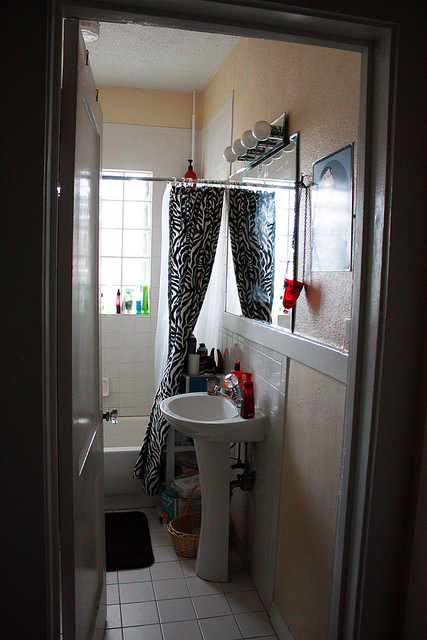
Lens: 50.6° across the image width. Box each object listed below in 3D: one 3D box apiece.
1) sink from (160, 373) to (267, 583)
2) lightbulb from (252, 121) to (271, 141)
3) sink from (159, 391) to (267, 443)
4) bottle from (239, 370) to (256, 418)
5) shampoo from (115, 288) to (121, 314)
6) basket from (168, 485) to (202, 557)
[{"bbox_3d":[-0.021,0.708,2.037,0.447,0.926,0.444,1,2,-11],"label":"sink"},{"bbox_3d":[0.188,-0.731,1.776,0.068,0.060,0.169,2,2,4],"label":"lightbulb"},{"bbox_3d":[-0.022,0.445,1.985,0.401,0.157,0.509,0,3,-40],"label":"sink"},{"bbox_3d":[0.149,0.319,2.010,0.068,0.174,0.277,1,2,4],"label":"bottle"},{"bbox_3d":[-0.766,-0.146,3.624,0.046,0.187,0.041,0,2,-31],"label":"shampoo"},{"bbox_3d":[-0.113,1.010,2.287,0.150,0.341,0.208,4,-7,5],"label":"basket"}]
